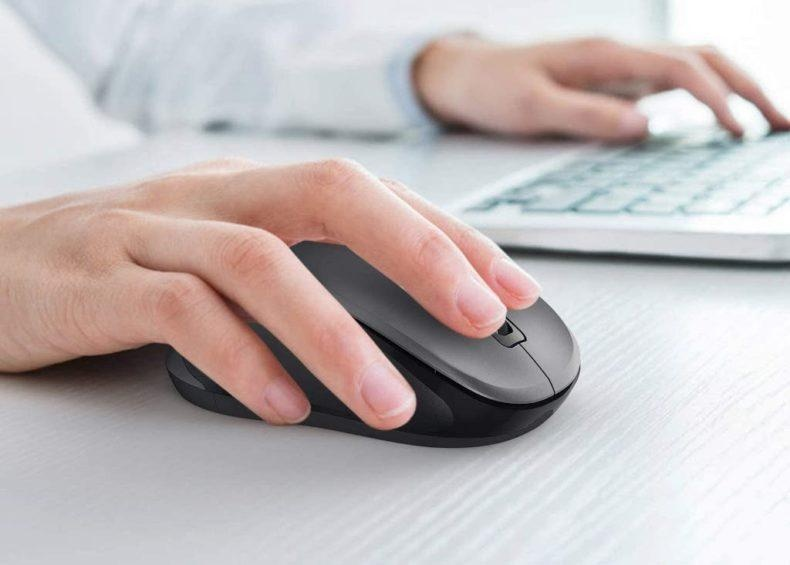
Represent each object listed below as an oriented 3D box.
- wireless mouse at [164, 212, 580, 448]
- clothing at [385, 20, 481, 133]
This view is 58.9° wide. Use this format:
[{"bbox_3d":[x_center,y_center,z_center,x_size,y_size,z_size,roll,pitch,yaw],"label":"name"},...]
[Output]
[{"bbox_3d":[-0.007,0.023,0.436,0.223,0.064,0.111,5,19,13],"label":"wireless mouse"},{"bbox_3d":[0.047,-0.306,1.092,0.142,0.052,0.151,0,86,25],"label":"clothing"}]
